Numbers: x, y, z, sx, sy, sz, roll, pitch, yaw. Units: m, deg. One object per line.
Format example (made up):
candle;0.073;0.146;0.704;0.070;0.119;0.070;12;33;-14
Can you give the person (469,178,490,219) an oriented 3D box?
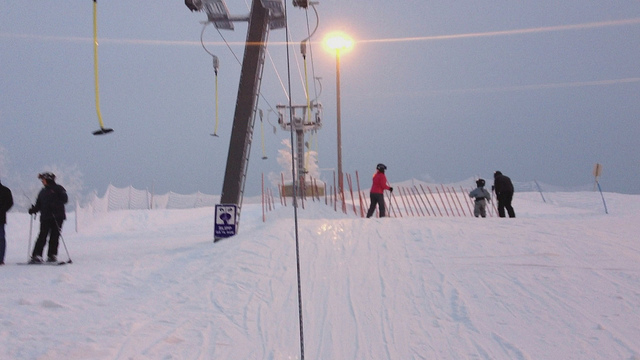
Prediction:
person;6.387;0.760;22.389;0.738;1.558;1.232;-1;4;16

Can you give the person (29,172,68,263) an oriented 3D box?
person;-8.757;1.215;18.102;1.147;2.884;0.607;-4;4;-26
